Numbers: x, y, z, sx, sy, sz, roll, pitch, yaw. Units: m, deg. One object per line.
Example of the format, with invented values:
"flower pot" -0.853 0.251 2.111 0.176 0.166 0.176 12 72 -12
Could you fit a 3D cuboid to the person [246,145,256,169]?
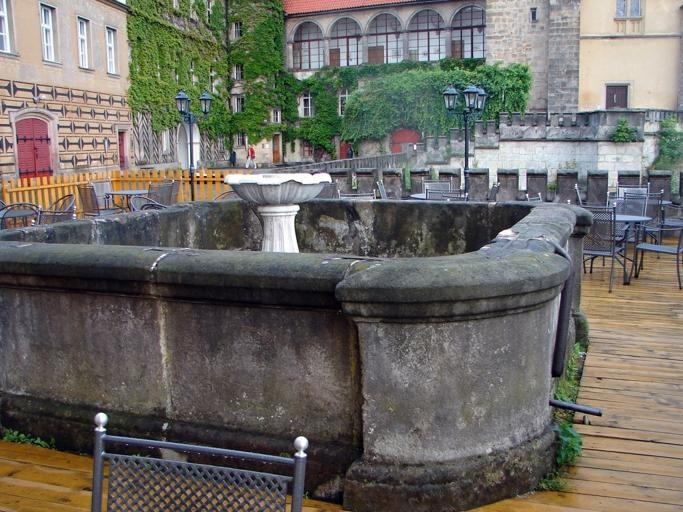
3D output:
"person" -4.704 -5.354 41.798 0.517 1.203 0.907 -2 10 -6
